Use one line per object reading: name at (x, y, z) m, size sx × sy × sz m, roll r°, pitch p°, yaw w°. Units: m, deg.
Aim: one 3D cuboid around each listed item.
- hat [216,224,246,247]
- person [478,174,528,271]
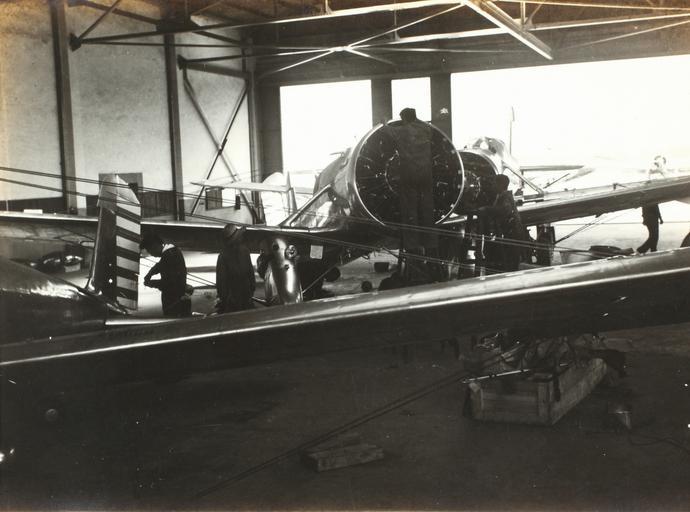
hat at (-1.782, -0.343, 15.122) m, size 0.320 × 0.314 × 0.440 m, roll -6°, pitch 11°, yaw 2°
person at (2.677, -0.497, 15.810) m, size 0.460 × 1.336 × 1.311 m, roll -2°, pitch 0°, yaw 9°
